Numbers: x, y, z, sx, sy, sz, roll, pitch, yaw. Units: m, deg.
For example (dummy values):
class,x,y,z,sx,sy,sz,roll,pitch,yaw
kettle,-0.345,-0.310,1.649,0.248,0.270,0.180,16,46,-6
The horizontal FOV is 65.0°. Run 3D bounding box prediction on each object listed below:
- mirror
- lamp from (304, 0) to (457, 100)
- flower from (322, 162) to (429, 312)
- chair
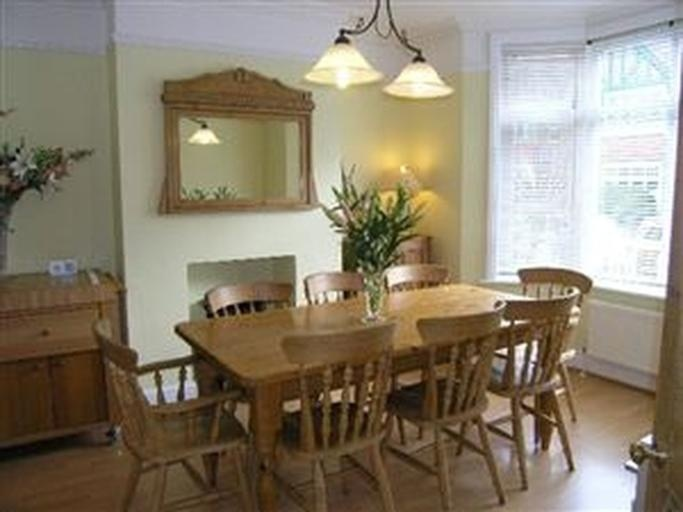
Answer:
class,x,y,z,sx,sy,sz,roll,pitch,yaw
mirror,-0.439,-0.480,2.224,0.635,0.550,0.054,-2,3,-30
lamp,0.135,-0.817,2.193,0.493,0.292,0.766,1,8,27
flower,0.140,-0.029,2.005,0.391,0.507,0.368,0,-6,-6
chair,-0.050,0.446,2.122,1.660,0.649,0.750,-7,9,-33
